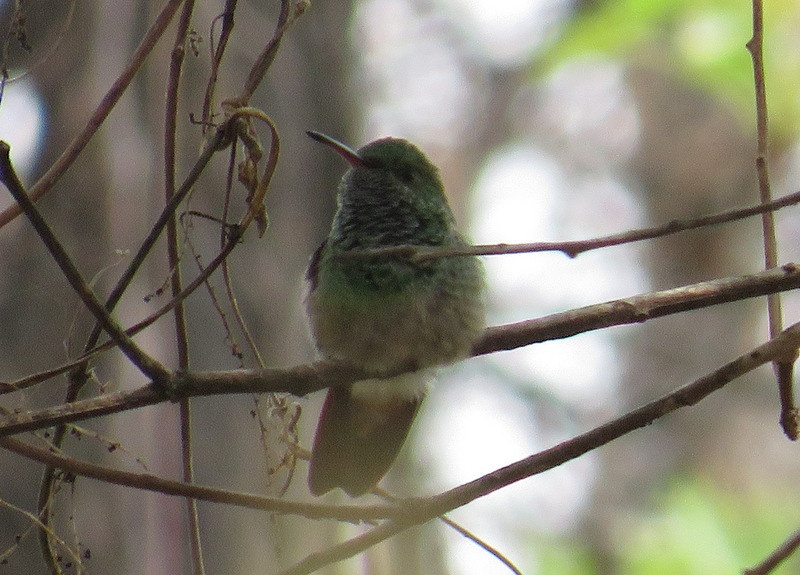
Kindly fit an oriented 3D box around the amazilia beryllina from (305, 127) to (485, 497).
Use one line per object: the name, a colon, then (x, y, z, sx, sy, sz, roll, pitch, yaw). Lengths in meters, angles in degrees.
amazilia beryllina: (-0.068, 0.057, 3.666, 0.416, 0.858, 0.917, 4, 69, -2)
